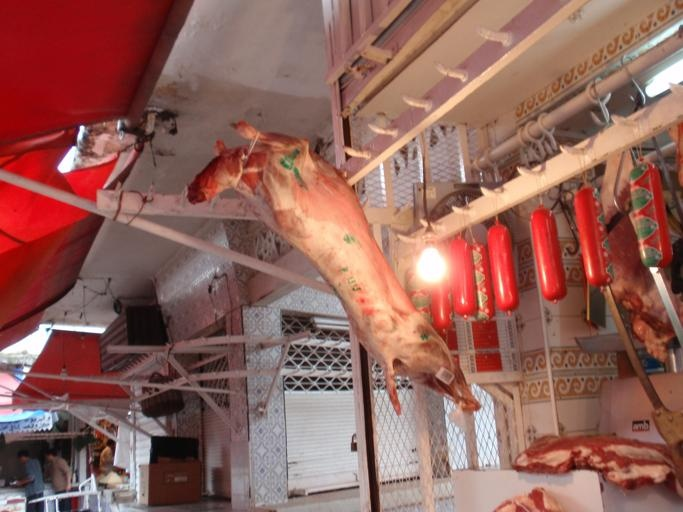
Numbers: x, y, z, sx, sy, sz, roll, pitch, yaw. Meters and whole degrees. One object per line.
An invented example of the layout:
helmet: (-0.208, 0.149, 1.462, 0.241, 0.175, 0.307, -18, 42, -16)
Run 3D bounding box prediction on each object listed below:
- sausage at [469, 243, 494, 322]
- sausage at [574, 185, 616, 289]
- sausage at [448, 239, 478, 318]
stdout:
sausage: (1.049, 0.192, 3.766, 0.139, 0.607, 0.153, -2, -4, -1)
sausage: (1.652, -0.102, 3.278, 0.168, 0.703, 0.197, -3, -4, 12)
sausage: (0.891, 0.137, 3.695, 0.174, 0.571, 0.115, -11, -19, 20)
